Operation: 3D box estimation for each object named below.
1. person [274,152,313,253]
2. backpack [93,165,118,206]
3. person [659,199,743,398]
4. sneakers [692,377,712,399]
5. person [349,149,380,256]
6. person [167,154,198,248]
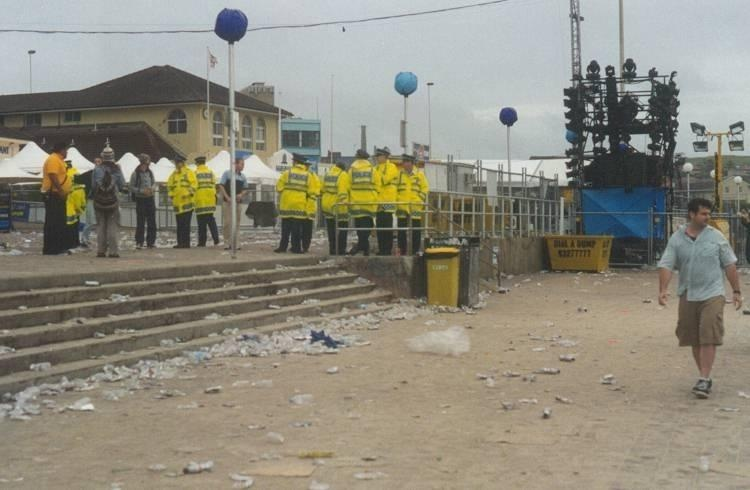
[{"bbox_3d":[-1.863,-0.922,25.890,0.812,2.211,0.827,0,3,4],"label":"person"},{"bbox_3d":[-5.529,-1.187,23.388,0.424,0.690,0.680,5,-35,-9],"label":"backpack"},{"bbox_3d":[5.043,0.799,17.938,1.132,3.022,1.134,1,3,30],"label":"person"},{"bbox_3d":[5.041,2.195,17.616,0.488,0.288,0.239,-3,4,-42],"label":"sneakers"},{"bbox_3d":[-0.264,-0.926,25.333,0.636,2.319,0.971,-1,3,-2],"label":"person"},{"bbox_3d":[-4.630,-1.024,27.491,0.655,2.193,1.112,-1,3,-11],"label":"person"}]
